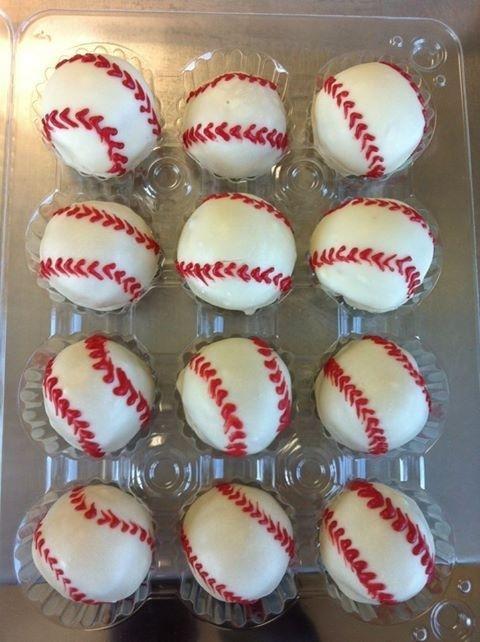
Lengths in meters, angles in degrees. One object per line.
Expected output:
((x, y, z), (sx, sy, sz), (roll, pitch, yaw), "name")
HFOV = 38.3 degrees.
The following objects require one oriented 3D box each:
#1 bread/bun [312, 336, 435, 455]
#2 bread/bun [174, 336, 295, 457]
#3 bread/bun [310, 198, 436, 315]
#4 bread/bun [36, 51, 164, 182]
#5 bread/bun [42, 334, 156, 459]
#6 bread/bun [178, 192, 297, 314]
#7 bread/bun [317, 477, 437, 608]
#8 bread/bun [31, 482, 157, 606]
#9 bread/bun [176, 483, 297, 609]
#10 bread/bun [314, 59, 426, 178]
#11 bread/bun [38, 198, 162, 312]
((0.217, 0.121, 1.132), (0.169, 0.125, 0.180), (-38, 68, -16), "bread/bun")
((-0.012, 0.123, 1.099), (0.140, 0.131, 0.223), (10, 33, -1), "bread/bun")
((0.214, -0.121, 1.126), (0.189, 0.103, 0.158), (32, 68, 16), "bread/bun")
((-0.227, -0.323, 1.091), (0.194, 0.197, 0.118), (2, 20, -1), "bread/bun")
((-0.224, 0.115, 1.096), (0.167, 0.101, 0.158), (-31, 66, -14), "bread/bun")
((-0.003, -0.108, 1.122), (0.176, 0.148, 0.168), (31, 68, 16), "bread/bun")
((0.227, 0.345, 1.140), (0.187, 0.104, 0.182), (-31, 72, 14), "bread/bun")
((-0.225, 0.352, 1.064), (0.166, 0.150, 0.275), (0, 35, -16), "bread/bun")
((-0.007, 0.338, 1.068), (0.169, 0.065, 0.174), (1, 63, 2), "bread/bun")
((0.221, -0.332, 1.175), (0.167, 0.157, 0.157), (-19, 64, -8), "bread/bun")
((-0.182, -0.109, 1.166), (0.202, 0.170, 0.235), (0, 38, -3), "bread/bun")
